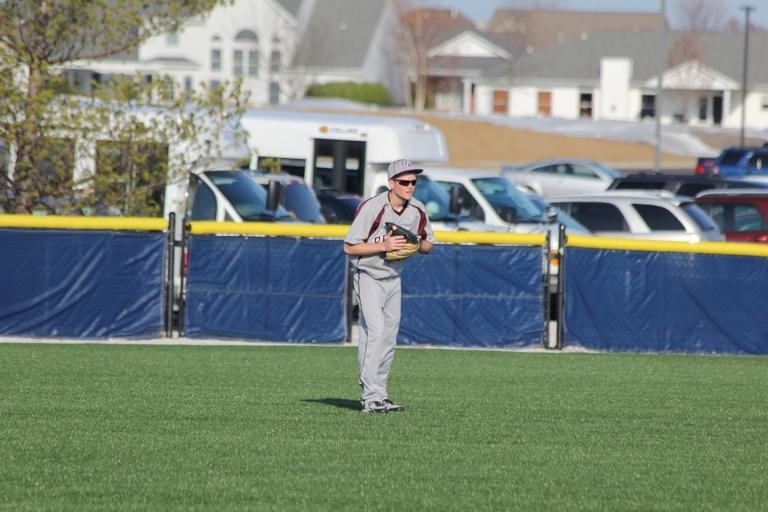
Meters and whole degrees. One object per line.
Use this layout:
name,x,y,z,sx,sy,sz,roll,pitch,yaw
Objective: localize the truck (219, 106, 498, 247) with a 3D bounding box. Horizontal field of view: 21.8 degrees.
truck,-1.647,-1.747,54.220,7.291,3.025,2.153,2,-10,-2
